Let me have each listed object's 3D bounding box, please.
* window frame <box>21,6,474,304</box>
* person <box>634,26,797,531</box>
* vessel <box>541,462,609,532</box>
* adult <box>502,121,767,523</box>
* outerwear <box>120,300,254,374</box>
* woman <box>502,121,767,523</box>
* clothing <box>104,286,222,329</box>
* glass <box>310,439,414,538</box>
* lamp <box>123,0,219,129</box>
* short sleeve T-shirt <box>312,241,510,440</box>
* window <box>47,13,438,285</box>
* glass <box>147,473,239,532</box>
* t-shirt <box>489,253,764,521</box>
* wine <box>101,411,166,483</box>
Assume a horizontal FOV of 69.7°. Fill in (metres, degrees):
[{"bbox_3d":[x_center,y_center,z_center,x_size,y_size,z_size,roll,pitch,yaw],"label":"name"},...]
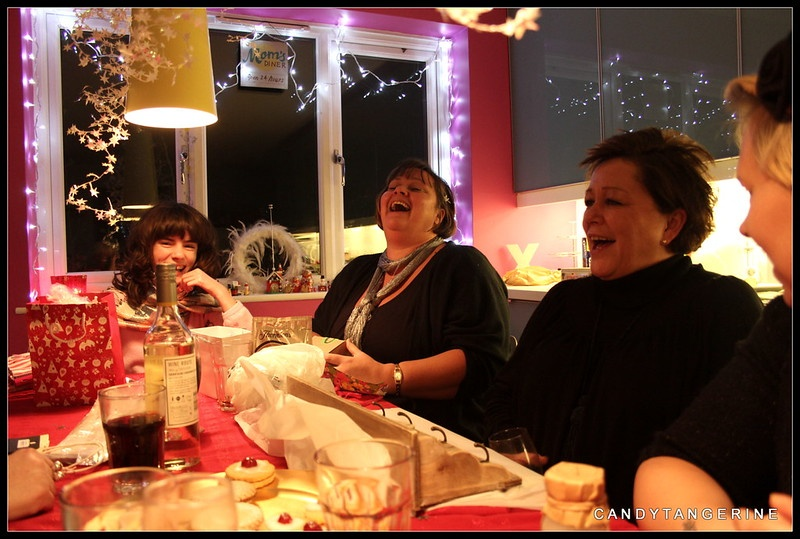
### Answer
[{"bbox_3d":[-0.900,-0.617,3.122,1.971,1.263,0.219,-1,1,-16],"label":"window frame"},{"bbox_3d":[0.532,0.032,0.948,0.212,0.755,0.334,4,6,34],"label":"person"},{"bbox_3d":[0.228,0.303,0.761,0.087,0.081,0.086,-2,0,4],"label":"vessel"},{"bbox_3d":[0.687,0.244,1.743,0.790,1.225,0.633,1,2,42],"label":"adult"},{"bbox_3d":[-0.848,0.272,2.267,0.350,0.386,0.445,11,-30,-37],"label":"outerwear"},{"bbox_3d":[0.654,0.260,1.747,0.793,1.216,0.621,-2,-10,36],"label":"woman"},{"bbox_3d":[-0.949,0.149,2.477,0.435,0.113,0.335,-5,-23,-7],"label":"clothing"},{"bbox_3d":[-0.054,0.315,0.878,0.142,0.157,0.144,0,-11,-8],"label":"glass"},{"bbox_3d":[-0.611,-0.581,1.593,0.241,0.289,0.458,-3,5,-31],"label":"lamp"},{"bbox_3d":[0.027,0.218,2.296,0.881,0.654,0.481,7,3,40],"label":"short sleeve T-shirt"},{"bbox_3d":[-0.930,-0.665,3.204,1.807,1.201,0.177,0,3,-23],"label":"window"},{"bbox_3d":[-0.276,0.308,0.755,0.124,0.063,0.057,0,5,-8],"label":"glass"},{"bbox_3d":[0.601,0.379,1.697,0.418,0.779,0.723,2,4,-42],"label":"t-shirt"},{"bbox_3d":[-0.481,0.315,1.063,0.125,0.136,0.124,1,-10,-16],"label":"wine"}]
